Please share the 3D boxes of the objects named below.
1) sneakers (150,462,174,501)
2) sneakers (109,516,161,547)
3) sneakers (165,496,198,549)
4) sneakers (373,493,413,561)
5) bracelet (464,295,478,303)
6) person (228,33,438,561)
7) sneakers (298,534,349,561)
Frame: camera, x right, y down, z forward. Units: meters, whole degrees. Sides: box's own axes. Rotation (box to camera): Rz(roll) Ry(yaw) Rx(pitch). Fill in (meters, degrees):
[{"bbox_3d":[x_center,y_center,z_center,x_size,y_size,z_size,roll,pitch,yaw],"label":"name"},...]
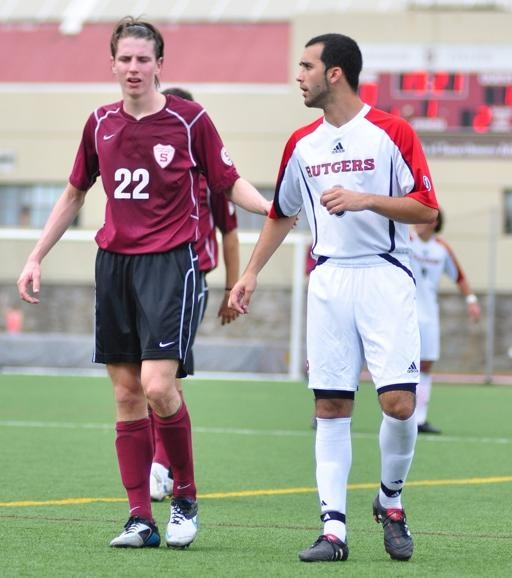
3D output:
[{"bbox_3d":[-0.468,0.973,6.375,0.082,0.125,0.251,-1,-4,4],"label":"sneakers"},{"bbox_3d":[-0.485,0.991,5.208,0.086,0.125,0.241,-8,-16,32],"label":"sneakers"},{"bbox_3d":[-0.305,0.962,5.254,0.127,0.194,0.208,-1,3,-5],"label":"sneakers"},{"bbox_3d":[0.569,0.972,5.134,0.077,0.103,0.241,1,41,-19],"label":"sneakers"},{"bbox_3d":[2.075,0.082,12.159,0.116,0.104,0.127,-1,5,6],"label":"bracelet"},{"bbox_3d":[0.371,-0.004,5.248,0.766,2.149,0.597,1,3,18],"label":"person"},{"bbox_3d":[0.279,1.029,5.033,0.202,0.099,0.081,9,-12,-43],"label":"sneakers"}]
